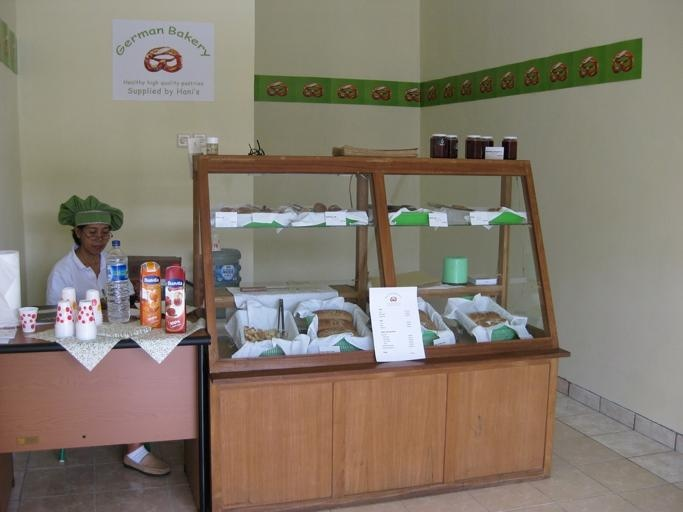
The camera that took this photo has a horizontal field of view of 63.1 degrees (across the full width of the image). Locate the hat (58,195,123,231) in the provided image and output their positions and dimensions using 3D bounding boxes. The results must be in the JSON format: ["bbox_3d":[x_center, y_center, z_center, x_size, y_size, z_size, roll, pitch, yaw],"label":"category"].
[{"bbox_3d":[-1.703,-0.291,3.801,0.326,0.261,0.300,2,12,5],"label":"hat"}]

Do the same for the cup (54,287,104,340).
[{"bbox_3d":[-1.387,0.301,2.925,0.216,0.234,0.202,1,12,0],"label":"cup"}]

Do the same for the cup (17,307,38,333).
[{"bbox_3d":[-1.673,0.337,2.976,0.133,0.140,0.126,0,-5,0],"label":"cup"}]

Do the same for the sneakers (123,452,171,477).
[{"bbox_3d":[-1.267,1.337,3.655,0.302,0.106,0.118,3,8,15],"label":"sneakers"}]

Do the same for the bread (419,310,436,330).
[{"bbox_3d":[0.507,0.404,3.461,0.087,0.127,0.062,-19,-8,-46],"label":"bread"}]

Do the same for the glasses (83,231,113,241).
[{"bbox_3d":[-1.625,-0.142,3.751,0.187,0.068,0.100,-9,15,-38],"label":"glasses"}]

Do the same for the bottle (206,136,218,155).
[{"bbox_3d":[-0.775,-0.655,3.321,0.071,0.093,0.060,1,12,-1],"label":"bottle"}]
